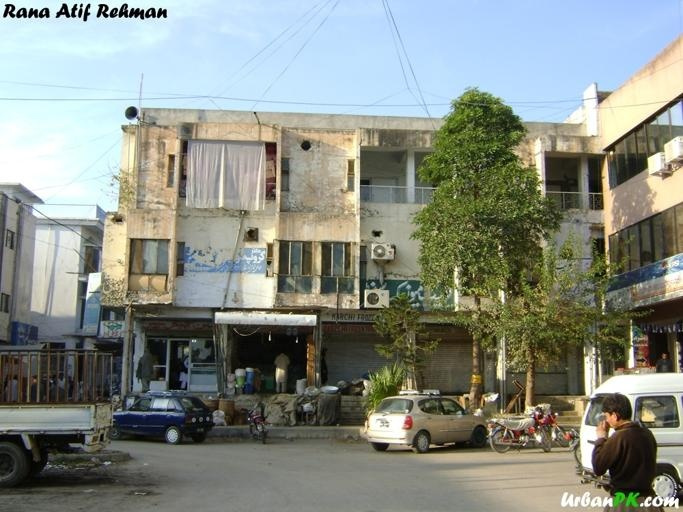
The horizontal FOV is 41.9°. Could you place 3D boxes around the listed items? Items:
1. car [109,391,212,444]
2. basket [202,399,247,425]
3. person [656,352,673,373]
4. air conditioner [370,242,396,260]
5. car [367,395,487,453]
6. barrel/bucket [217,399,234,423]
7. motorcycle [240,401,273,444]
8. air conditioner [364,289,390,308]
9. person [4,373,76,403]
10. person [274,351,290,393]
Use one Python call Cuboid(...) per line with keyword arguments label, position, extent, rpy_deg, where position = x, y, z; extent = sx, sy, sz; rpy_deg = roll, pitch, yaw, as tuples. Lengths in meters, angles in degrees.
Cuboid(label="car", position=(-6.061, 5.398, 30.358), extent=(2.926, 1.437, 1.716), rpy_deg=(0, -6, 21))
Cuboid(label="basket", position=(-4.504, 6.004, 34.715), extent=(1.510, 0.602, 0.876), rpy_deg=(-3, -7, 28))
Cuboid(label="person", position=(11.464, 3.724, 31.654), extent=(0.518, 0.618, 0.886), rpy_deg=(0, 0, 19))
Cuboid(label="air conditioner", position=(1.744, -0.154, 38.364), extent=(1.043, 0.741, 0.636), rpy_deg=(0, -12, -3))
Cuboid(label="car", position=(2.634, 5.131, 28.135), extent=(3.092, 1.251, 1.711), rpy_deg=(3, -7, -36))
Cuboid(label="barrel/bucket", position=(-4.418, 5.951, 34.487), extent=(0.773, 0.854, 0.784), rpy_deg=(0, -9, 0))
Cuboid(label="motorcycle", position=(-2.918, 5.749, 30.968), extent=(0.854, 1.096, 1.764), rpy_deg=(-16, -1, -14))
Cuboid(label="air conditioner", position=(1.473, 1.841, 37.905), extent=(1.239, 0.890, 0.661), rpy_deg=(1, -12, -4))
Cuboid(label="person", position=(-7.573, 3.264, 22.147), extent=(1.652, 0.674, 0.210), rpy_deg=(0, 0, -14))
Cuboid(label="person", position=(-2.557, 5.012, 38.608), extent=(0.586, 1.620, 1.519), rpy_deg=(0, 0, -3))
